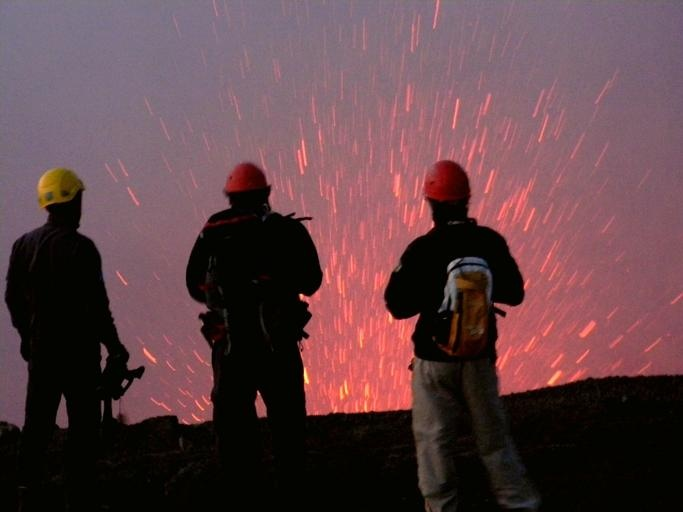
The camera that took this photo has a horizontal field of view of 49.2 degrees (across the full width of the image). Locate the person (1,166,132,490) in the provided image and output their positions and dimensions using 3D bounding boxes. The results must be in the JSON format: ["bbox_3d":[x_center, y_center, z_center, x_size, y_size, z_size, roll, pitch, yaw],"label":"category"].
[{"bbox_3d":[-2.262,0.547,6.049,0.885,2.383,0.860,-4,-26,-5],"label":"person"}]
